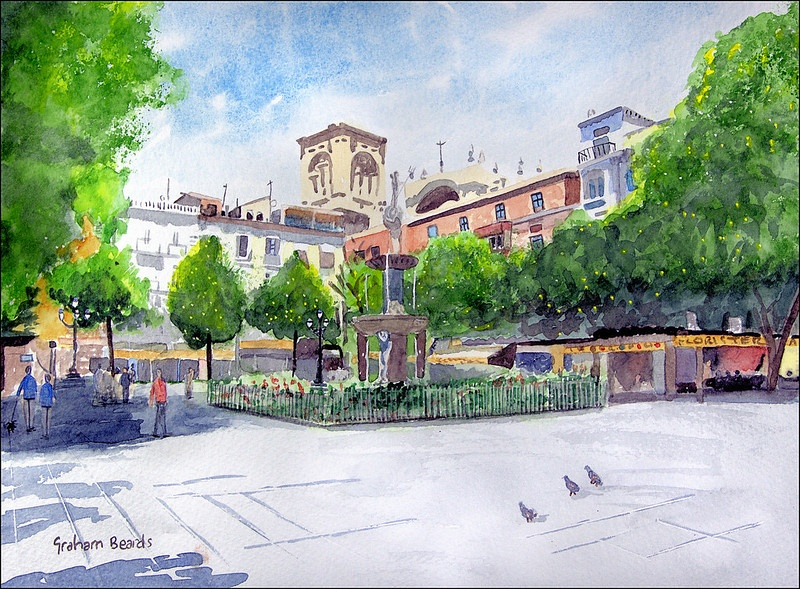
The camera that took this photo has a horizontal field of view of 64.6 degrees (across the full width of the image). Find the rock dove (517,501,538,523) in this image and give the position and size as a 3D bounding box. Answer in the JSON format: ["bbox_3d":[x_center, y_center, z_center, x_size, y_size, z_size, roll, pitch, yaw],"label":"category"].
[{"bbox_3d":[2.316,3.962,11.478,0.326,0.437,0.342,2,11,14],"label":"rock dove"}]

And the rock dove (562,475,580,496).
[{"bbox_3d":[3.231,3.590,11.956,0.268,0.513,0.503,4,11,21],"label":"rock dove"}]
